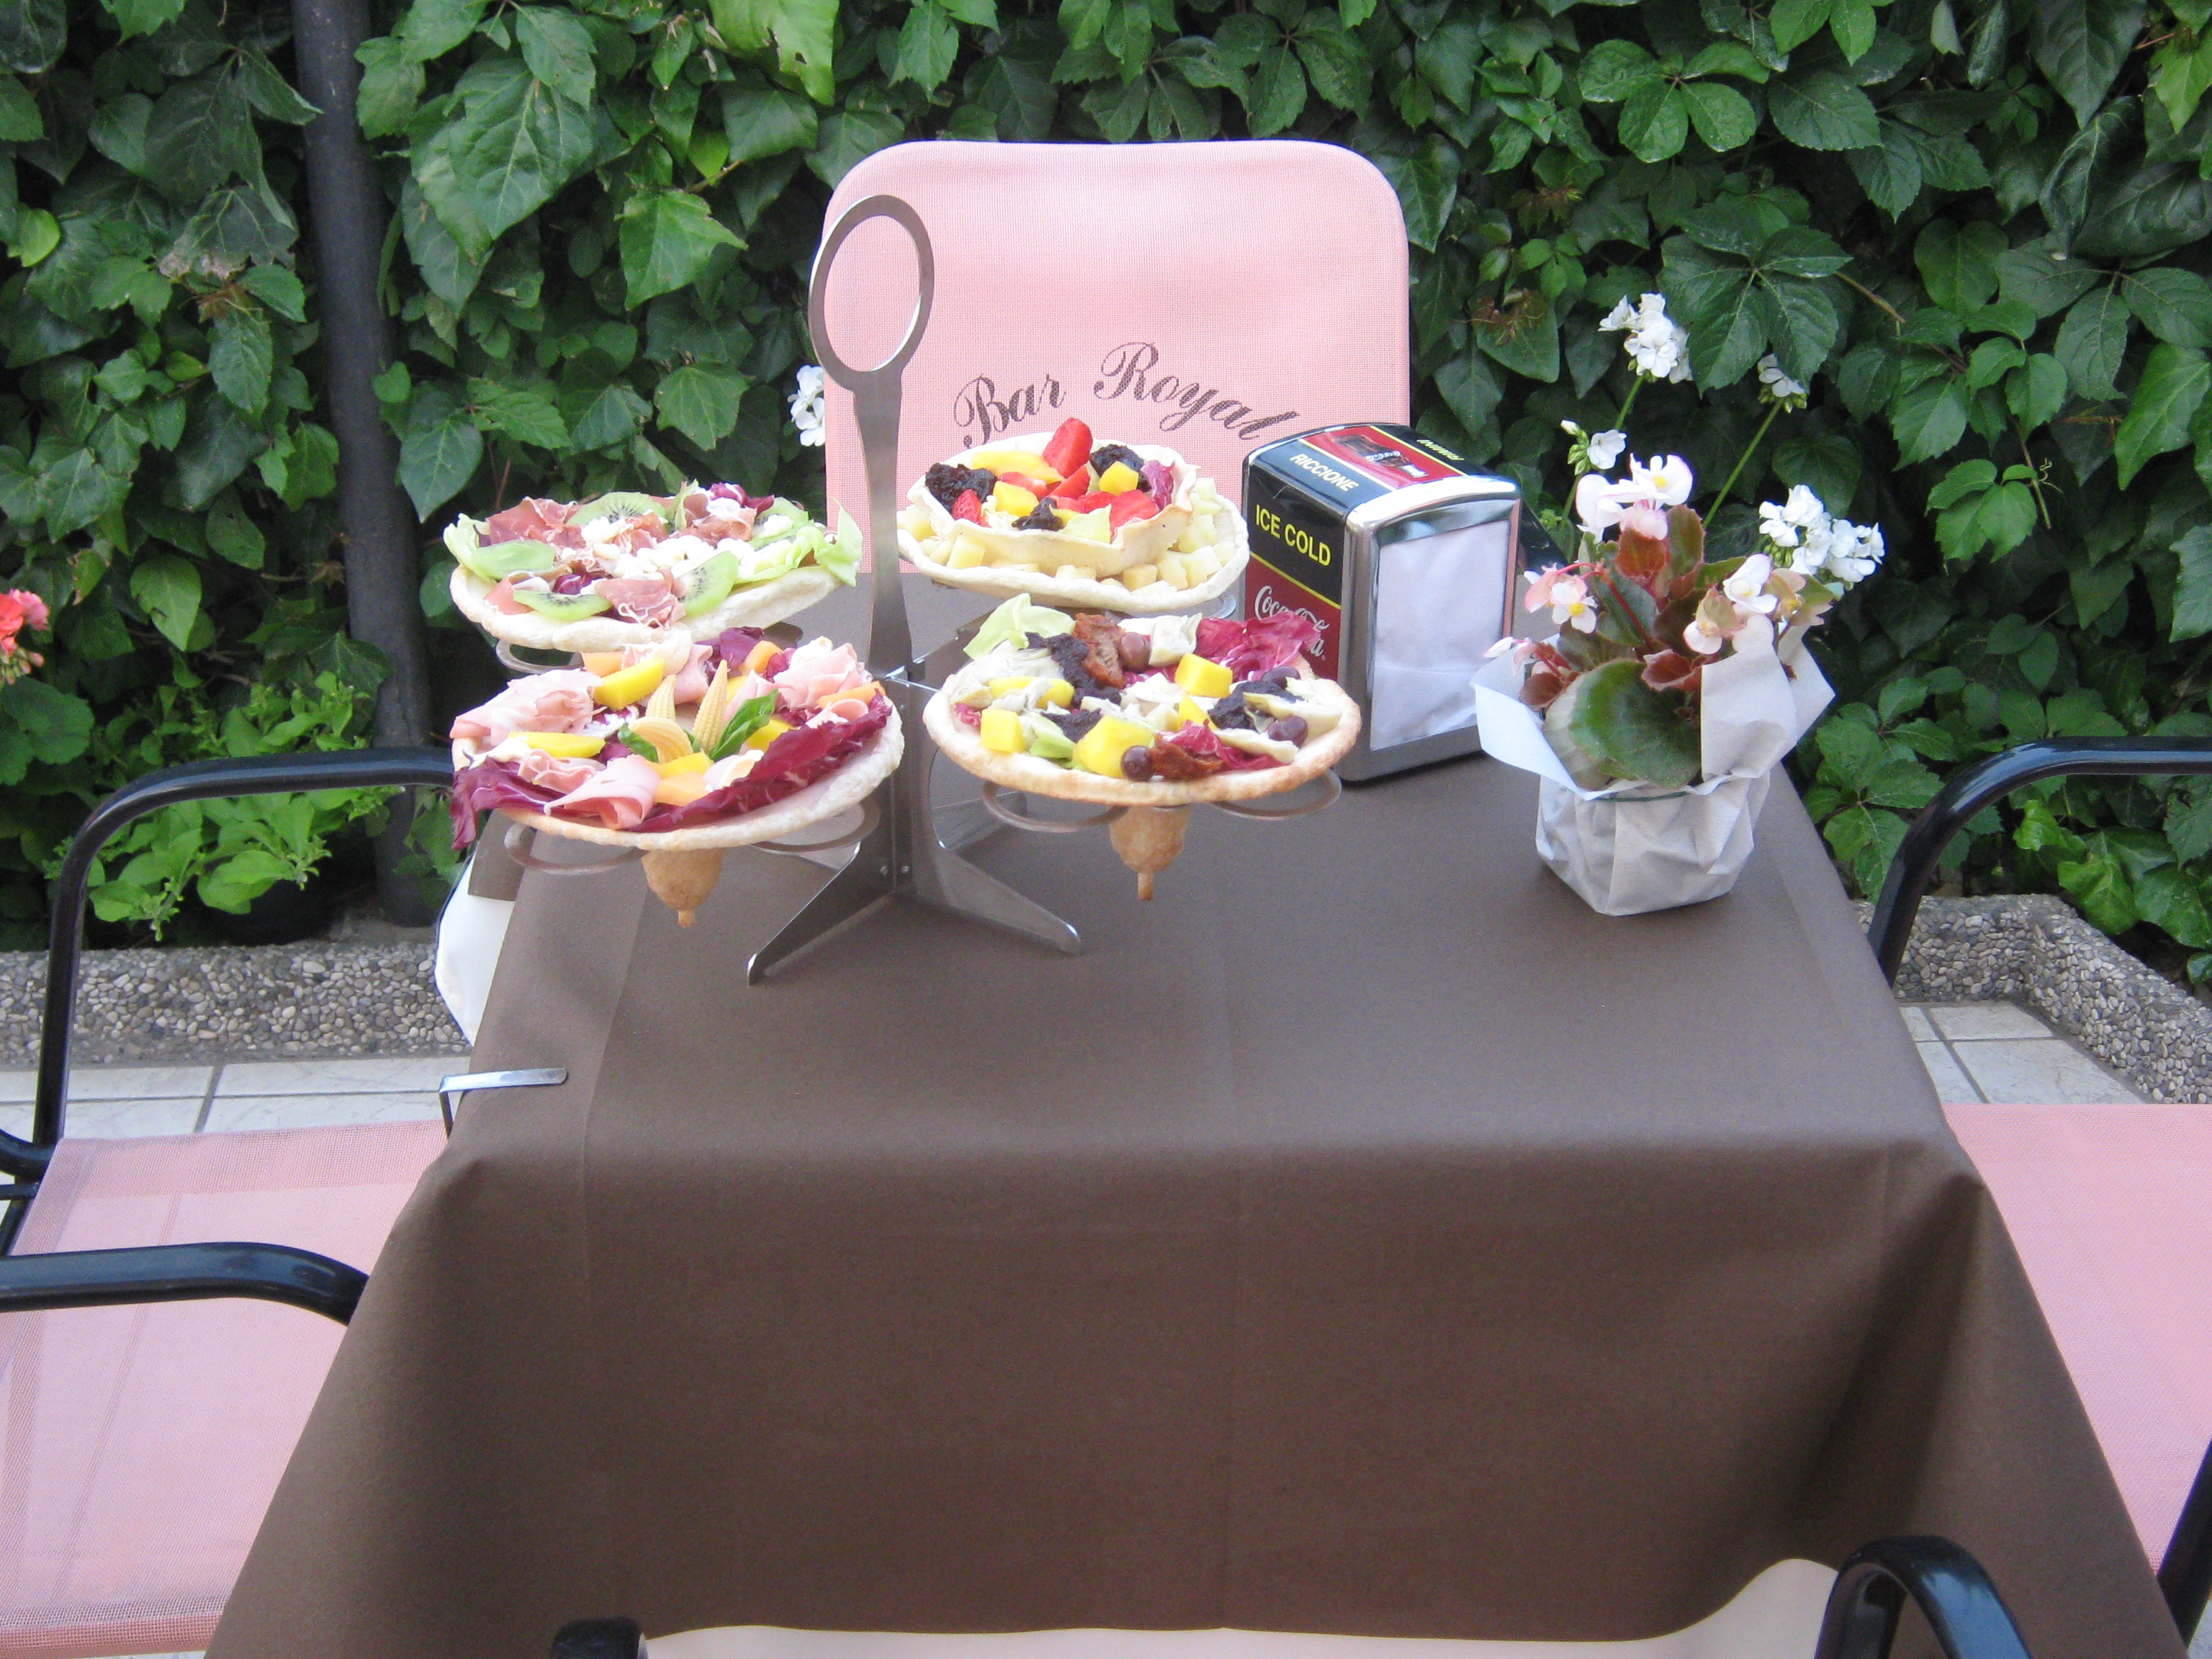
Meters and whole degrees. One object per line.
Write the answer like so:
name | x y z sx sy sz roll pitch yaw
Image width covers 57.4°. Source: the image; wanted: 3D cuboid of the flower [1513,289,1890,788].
flower | 0.461 -0.206 1.582 0.277 0.391 0.245 -7 13 -39
